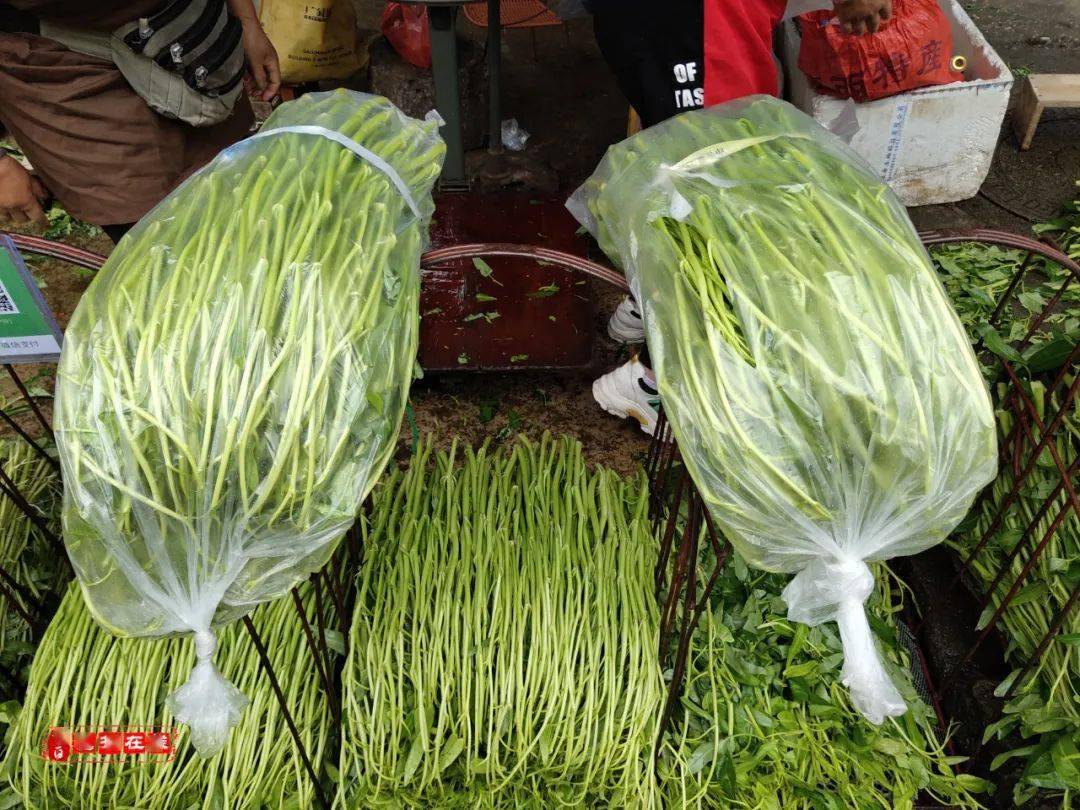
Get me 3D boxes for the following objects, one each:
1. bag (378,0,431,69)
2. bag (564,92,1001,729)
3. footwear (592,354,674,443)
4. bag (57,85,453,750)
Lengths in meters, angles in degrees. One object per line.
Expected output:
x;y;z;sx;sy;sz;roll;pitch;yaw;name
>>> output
-0.800;-2.287;5.864;0.204;0.324;0.448;-31;48;-20;bag
0.713;-0.048;2.657;0.859;0.511;1.633;-15;75;8;bag
0.395;-0.089;3.891;0.186;0.279;0.443;-29;37;-32;footwear
-0.754;-0.044;2.590;0.794;0.532;1.711;8;77;-11;bag
